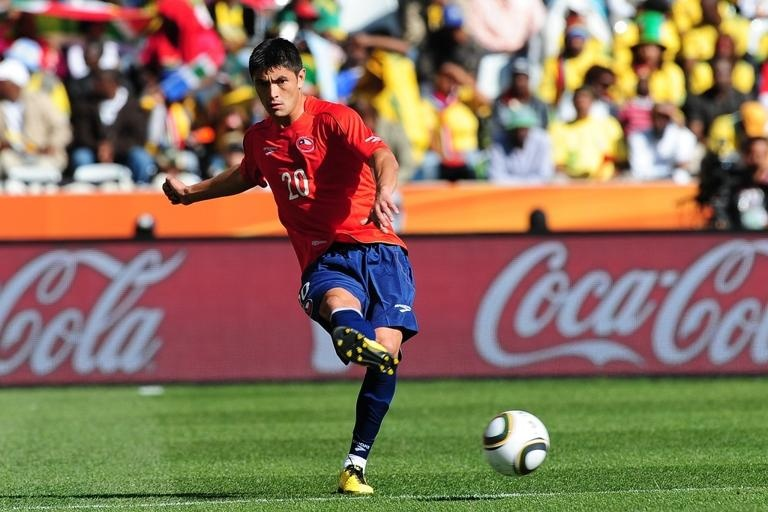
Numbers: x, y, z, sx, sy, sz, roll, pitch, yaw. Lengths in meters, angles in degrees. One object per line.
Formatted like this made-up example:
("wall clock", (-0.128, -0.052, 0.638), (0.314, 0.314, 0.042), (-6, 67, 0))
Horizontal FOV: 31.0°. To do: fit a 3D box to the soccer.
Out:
("soccer", (1.064, 1.618, 12.051), (0.565, 0.528, 0.531), (5, -32, -17))
